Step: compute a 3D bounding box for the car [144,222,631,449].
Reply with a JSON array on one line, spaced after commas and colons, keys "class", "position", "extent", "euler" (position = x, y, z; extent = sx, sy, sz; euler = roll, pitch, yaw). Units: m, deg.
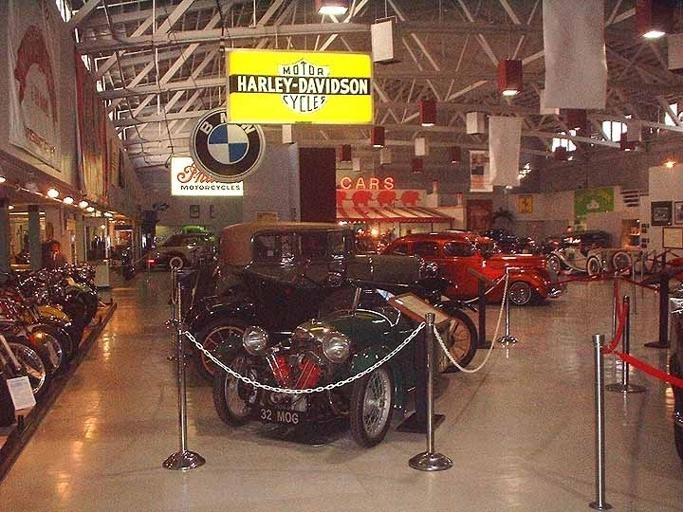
[{"class": "car", "position": [-0.108, 0.769, 7.279], "extent": [3.737, 2.388, 3.658], "euler": [-1, 3, -8]}]
